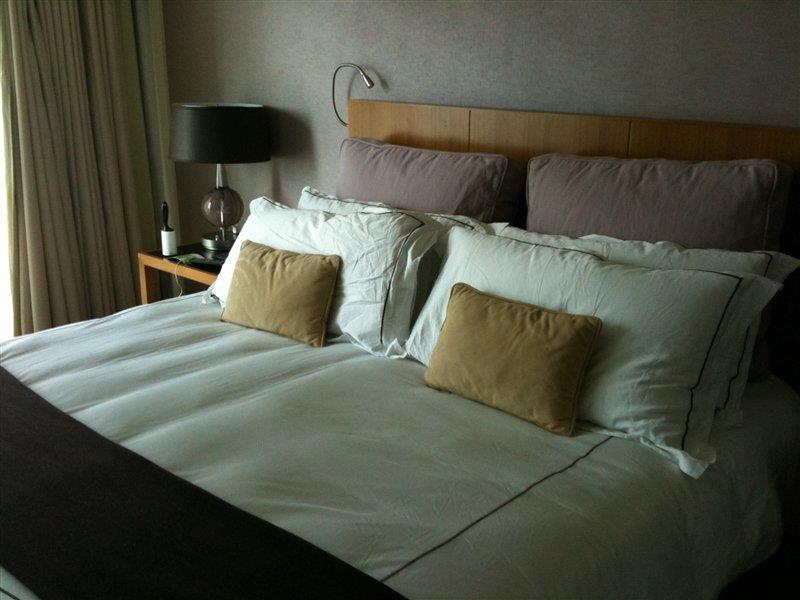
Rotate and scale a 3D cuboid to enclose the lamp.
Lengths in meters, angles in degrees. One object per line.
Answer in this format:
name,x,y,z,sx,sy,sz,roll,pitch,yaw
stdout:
lamp,-0.976,-0.655,3.731,0.529,0.762,0.541,1,15,-3
